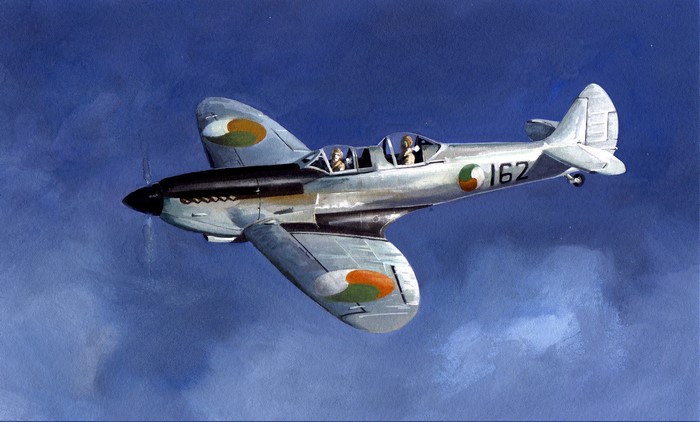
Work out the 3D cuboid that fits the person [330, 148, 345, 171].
[{"bbox_3d":[-0.465,-1.798,38.215,0.717,0.721,0.294,18,-18,-27],"label":"person"}]
